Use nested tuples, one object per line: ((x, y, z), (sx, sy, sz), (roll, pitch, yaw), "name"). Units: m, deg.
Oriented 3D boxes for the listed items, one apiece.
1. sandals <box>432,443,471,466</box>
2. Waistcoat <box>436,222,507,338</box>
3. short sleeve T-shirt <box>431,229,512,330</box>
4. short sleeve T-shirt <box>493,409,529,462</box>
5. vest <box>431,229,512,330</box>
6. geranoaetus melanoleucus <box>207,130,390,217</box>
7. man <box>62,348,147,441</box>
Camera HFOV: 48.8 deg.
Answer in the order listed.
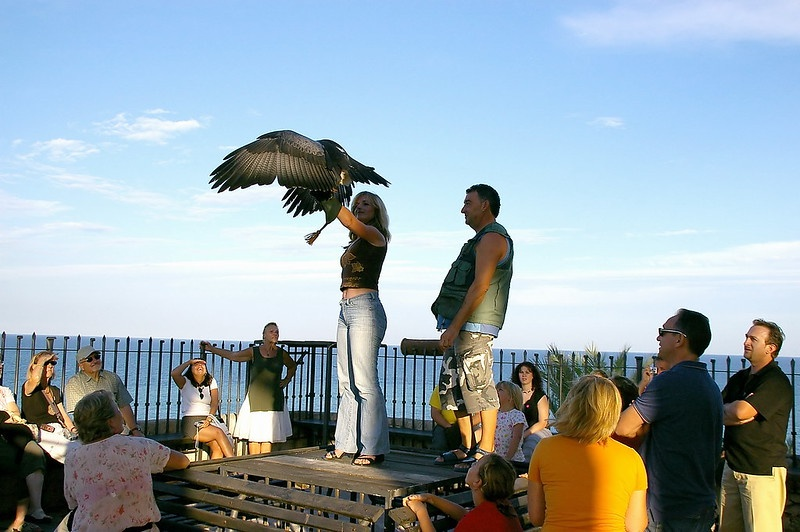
((0.540, 1.956, 9.093), (0.414, 0.106, 0.157), (3, -5, -19), "sandals")
((0.774, 0.177, 9.346), (0.792, 1.231, 0.933), (11, -12, -11), "Waistcoat")
((0.778, 0.187, 8.587), (0.636, 1.050, 0.894), (19, -3, -8), "short sleeve T-shirt")
((1.299, 2.050, 10.768), (0.368, 0.612, 0.614), (2, -6, -36), "short sleeve T-shirt")
((0.778, 0.187, 8.587), (0.636, 1.050, 0.894), (19, -3, -8), "vest")
((-0.905, -0.846, 7.988), (0.665, 0.385, 1.010), (21, -1, -27), "geranoaetus melanoleucus")
((-4.111, 1.827, 12.070), (0.929, 1.460, 0.964), (-2, -9, -44), "man")
